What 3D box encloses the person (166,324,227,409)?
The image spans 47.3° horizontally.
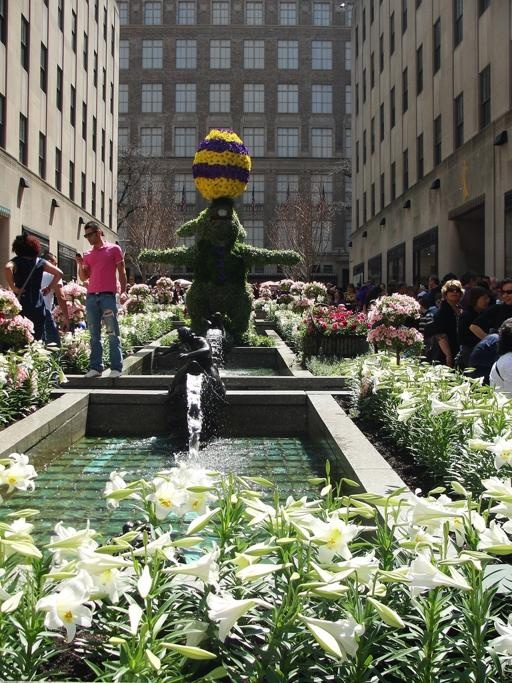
[{"bbox_3d":[-0.731,0.309,6.601,0.575,0.957,0.558,-6,-7,24],"label":"person"}]

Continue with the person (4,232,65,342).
[{"bbox_3d":[-2.961,-0.740,7.680,0.441,1.419,1.389,-5,-3,2],"label":"person"}]

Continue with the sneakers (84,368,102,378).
[{"bbox_3d":[-2.091,0.408,7.531,0.088,0.100,0.245,-2,-12,24],"label":"sneakers"}]

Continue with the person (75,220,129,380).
[{"bbox_3d":[-2.055,-0.567,7.810,0.633,2.079,0.644,-5,-3,-4],"label":"person"}]

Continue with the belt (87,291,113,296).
[{"bbox_3d":[-2.079,-0.647,7.804,0.338,0.063,0.058,-6,-3,-4],"label":"belt"}]
